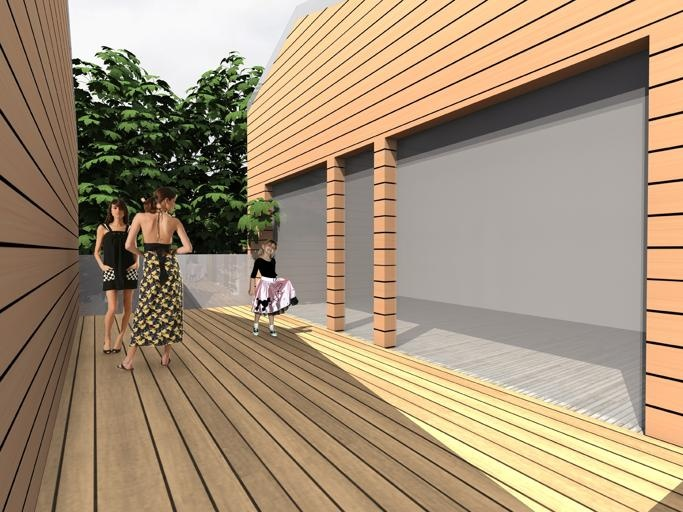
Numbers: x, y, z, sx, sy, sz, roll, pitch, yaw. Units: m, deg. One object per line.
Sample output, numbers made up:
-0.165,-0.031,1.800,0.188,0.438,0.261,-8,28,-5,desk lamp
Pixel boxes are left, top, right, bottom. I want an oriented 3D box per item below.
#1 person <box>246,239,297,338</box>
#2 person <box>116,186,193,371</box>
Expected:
-1.002,0.477,5.644,0.638,1.408,0.732,0,3,-13,person
-1.857,0.083,3.889,0.569,1.611,0.351,-1,4,-28,person
